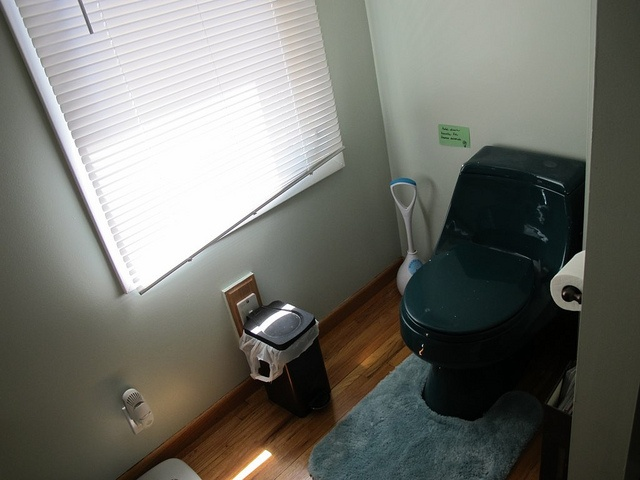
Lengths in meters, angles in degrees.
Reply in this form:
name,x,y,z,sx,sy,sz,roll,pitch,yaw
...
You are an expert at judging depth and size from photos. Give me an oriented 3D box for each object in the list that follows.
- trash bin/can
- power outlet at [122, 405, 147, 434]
name,x,y,z,sx,sy,sz,roll,pitch,yaw
trash bin/can,-0.131,0.500,2.064,0.228,0.410,0.376,-33,40,-31
power outlet,-0.702,0.668,1.857,0.097,0.102,0.026,29,33,10
